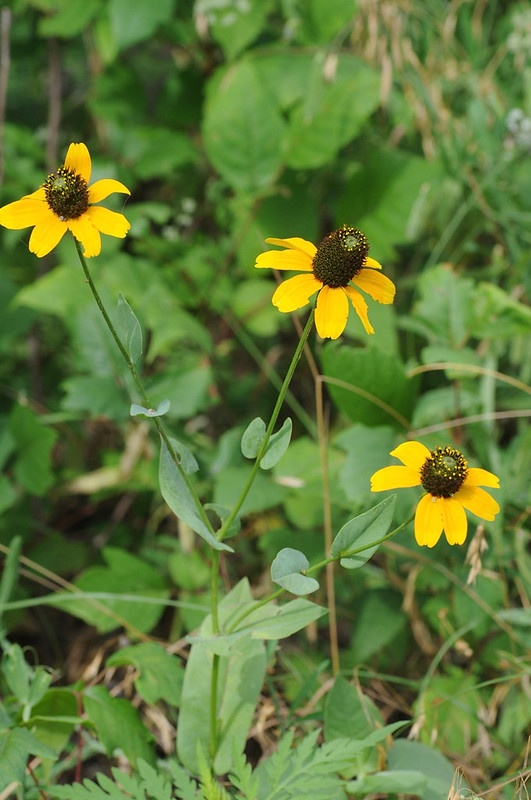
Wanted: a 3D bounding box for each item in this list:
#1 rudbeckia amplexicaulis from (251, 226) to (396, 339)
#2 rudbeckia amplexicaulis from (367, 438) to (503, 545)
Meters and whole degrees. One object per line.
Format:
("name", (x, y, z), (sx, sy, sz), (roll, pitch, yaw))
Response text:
("rudbeckia amplexicaulis", (0.073, -0.155, 0.843), (0.179, 0.077, 0.169), (6, 28, -34))
("rudbeckia amplexicaulis", (0.210, 0.095, 0.843), (0.153, 0.054, 0.152), (-16, 21, -7))
